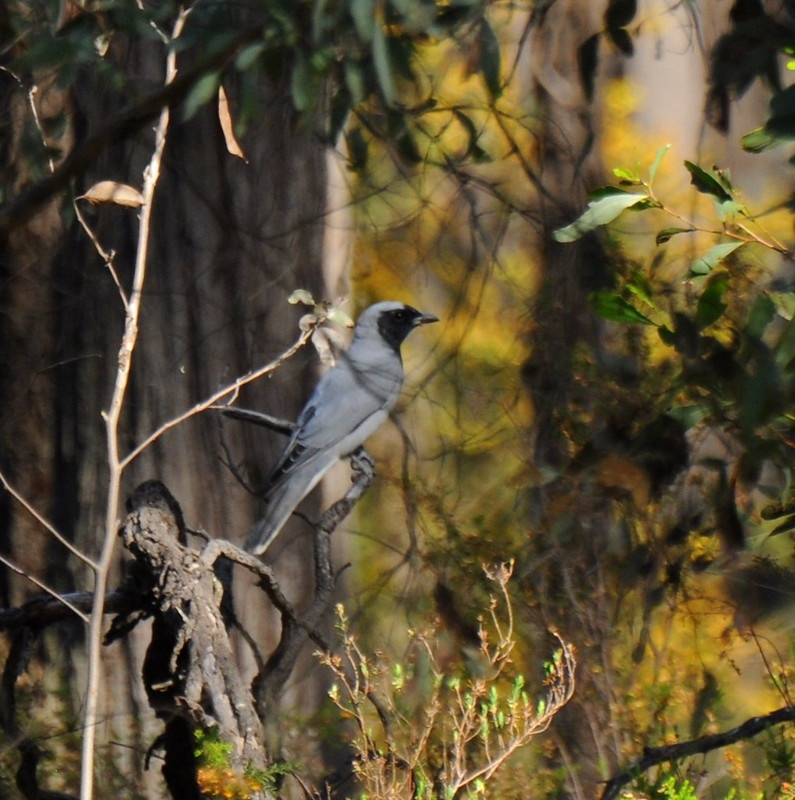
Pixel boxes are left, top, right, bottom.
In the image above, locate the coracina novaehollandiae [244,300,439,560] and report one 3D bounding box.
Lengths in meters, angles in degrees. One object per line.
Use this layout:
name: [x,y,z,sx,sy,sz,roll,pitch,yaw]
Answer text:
coracina novaehollandiae: [-0.163,0.018,6.230,0.704,0.224,0.470,-23,-80,-24]
